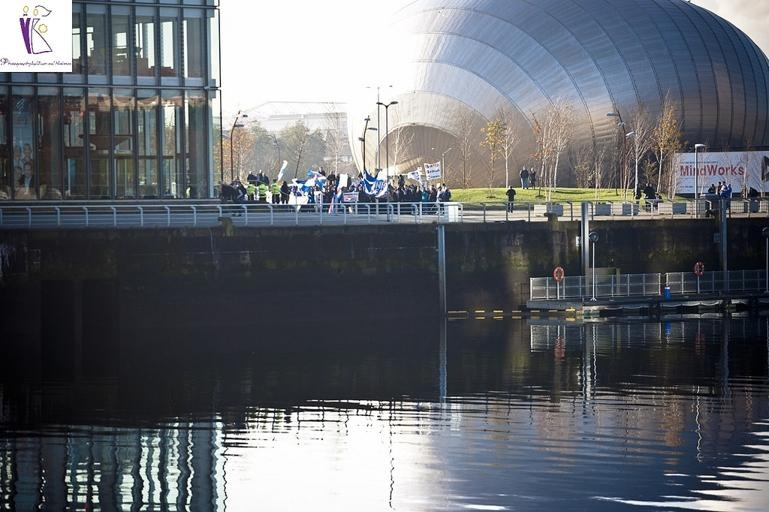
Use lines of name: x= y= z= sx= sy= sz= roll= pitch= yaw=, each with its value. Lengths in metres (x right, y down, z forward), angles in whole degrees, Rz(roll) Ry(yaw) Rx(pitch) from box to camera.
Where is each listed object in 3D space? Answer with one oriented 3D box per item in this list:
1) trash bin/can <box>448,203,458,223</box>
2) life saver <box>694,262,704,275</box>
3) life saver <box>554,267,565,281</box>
trash bin/can: x=4.014 y=-2.439 z=97.228 sx=0.645 sy=1.010 sz=2.030 roll=0 pitch=-1 yaw=3
life saver: x=18.715 y=0.845 z=100.712 sx=0.549 sy=0.879 sz=0.283 roll=1 pitch=1 yaw=7
life saver: x=10.017 y=1.117 z=97.174 sx=0.533 sy=0.821 sz=0.834 roll=0 pitch=-1 yaw=0
